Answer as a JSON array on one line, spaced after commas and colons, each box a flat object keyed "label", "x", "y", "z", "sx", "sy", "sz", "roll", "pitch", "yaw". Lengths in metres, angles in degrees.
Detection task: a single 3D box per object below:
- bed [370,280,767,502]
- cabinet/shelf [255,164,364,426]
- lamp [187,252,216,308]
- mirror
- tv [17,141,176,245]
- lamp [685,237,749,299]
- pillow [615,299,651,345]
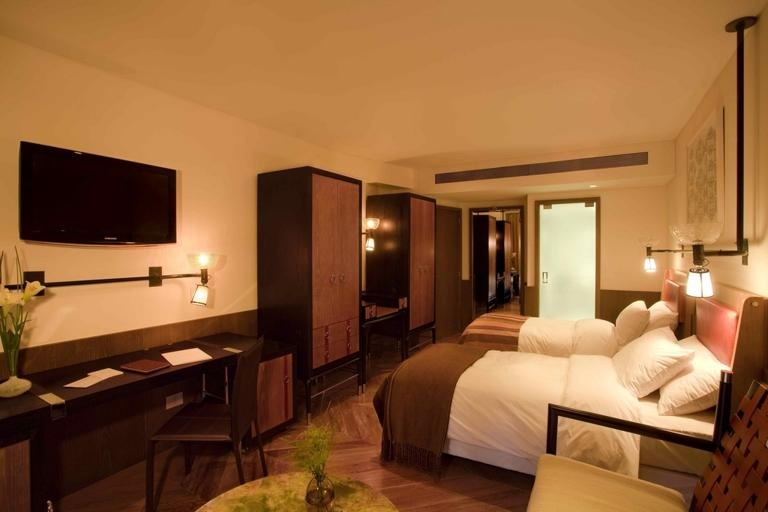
[{"label": "bed", "x": 1.297, "y": 1.331, "z": 4.818, "sx": 2.075, "sy": 1.073, "sz": 2.125, "roll": 0, "pitch": 0, "yaw": 31}, {"label": "cabinet/shelf", "x": -0.791, "y": 0.343, "z": 5.771, "sx": 1.206, "sy": 2.558, "sz": 0.681, "roll": 0, "pitch": 3, "yaw": -15}, {"label": "lamp", "x": -1.856, "y": 0.255, "z": 5.292, "sx": 0.198, "sy": 0.553, "sz": 0.420, "roll": 0, "pitch": 3, "yaw": -20}, {"label": "mirror", "x": 2.174, "y": 0.114, "z": 10.354, "sx": 0.293, "sy": 1.945, "sz": 2.180, "roll": -1, "pitch": 0, "yaw": 20}, {"label": "tv", "x": -2.650, "y": -0.557, "z": 4.720, "sx": 0.991, "sy": 0.720, "sz": 0.106, "roll": 0, "pitch": -1, "yaw": -44}, {"label": "lamp", "x": 2.868, "y": 0.107, "z": 4.497, "sx": 0.403, "sy": 0.497, "sz": 0.730, "roll": 3, "pitch": 3, "yaw": 35}, {"label": "pillow", "x": 2.712, "y": 0.723, "z": 5.704, "sx": 0.143, "sy": 0.266, "sz": 0.377, "roll": 16, "pitch": 16, "yaw": 28}]
